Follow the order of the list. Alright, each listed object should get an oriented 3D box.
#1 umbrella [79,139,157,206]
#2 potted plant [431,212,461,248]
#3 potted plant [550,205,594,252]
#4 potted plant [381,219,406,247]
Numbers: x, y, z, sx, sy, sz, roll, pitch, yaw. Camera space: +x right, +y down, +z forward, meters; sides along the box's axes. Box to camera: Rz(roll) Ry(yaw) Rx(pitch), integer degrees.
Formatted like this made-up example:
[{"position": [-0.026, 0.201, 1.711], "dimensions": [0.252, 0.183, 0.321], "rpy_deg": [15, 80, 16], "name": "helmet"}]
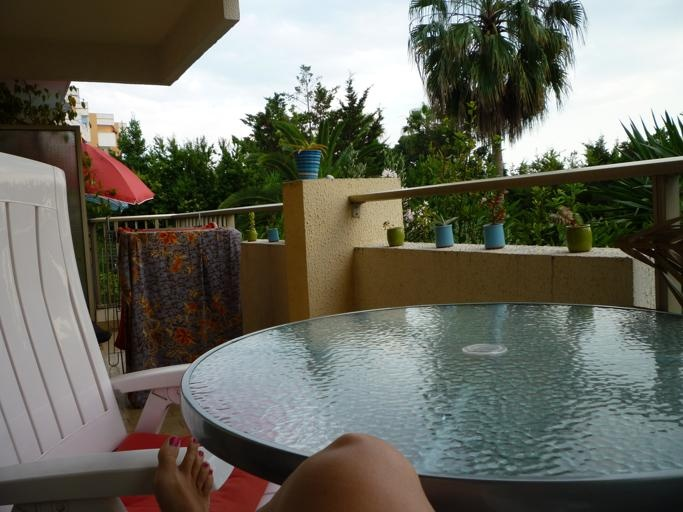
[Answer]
[{"position": [-3.047, -1.029, 6.854], "dimensions": [1.005, 0.370, 1.071], "rpy_deg": [21, 13, -27], "name": "umbrella"}, {"position": [0.503, -0.121, 2.602], "dimensions": [0.130, 0.169, 0.144], "rpy_deg": [-5, -1, -18], "name": "potted plant"}, {"position": [0.901, -0.105, 2.029], "dimensions": [0.171, 0.196, 0.119], "rpy_deg": [-1, 8, 36], "name": "potted plant"}, {"position": [0.322, -0.128, 2.892], "dimensions": [0.098, 0.176, 0.166], "rpy_deg": [-2, -3, -11], "name": "potted plant"}]
